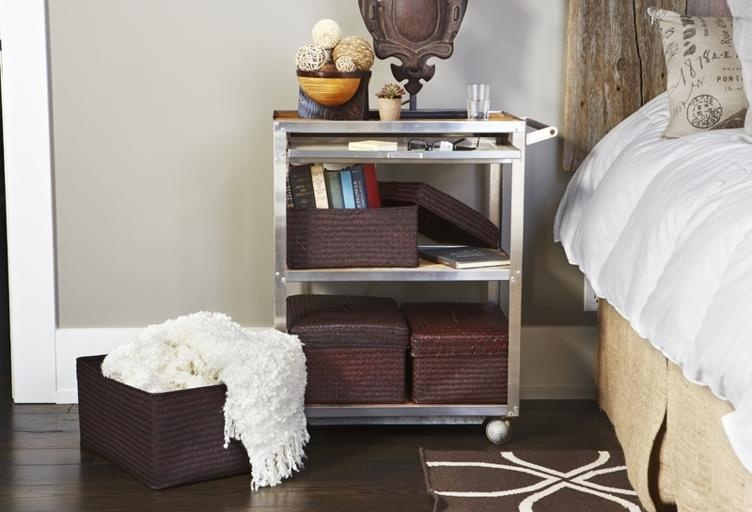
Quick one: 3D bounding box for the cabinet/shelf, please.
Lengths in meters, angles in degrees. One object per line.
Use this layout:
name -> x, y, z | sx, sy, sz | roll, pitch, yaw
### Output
cabinet/shelf -> 0.111, 0.053, 2.758 | 1.071, 1.151, 0.635 | 0, 8, -2

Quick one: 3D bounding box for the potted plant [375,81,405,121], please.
potted plant -> 0.048, -0.532, 2.687 | 0.084, 0.123, 0.128 | -2, 11, 2

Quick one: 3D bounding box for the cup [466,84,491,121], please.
cup -> 0.357, -0.539, 2.714 | 0.075, 0.123, 0.136 | -1, 11, 6

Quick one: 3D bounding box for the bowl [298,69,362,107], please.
bowl -> -0.167, -0.599, 2.764 | 0.249, 0.134, 0.262 | 2, 16, -1
